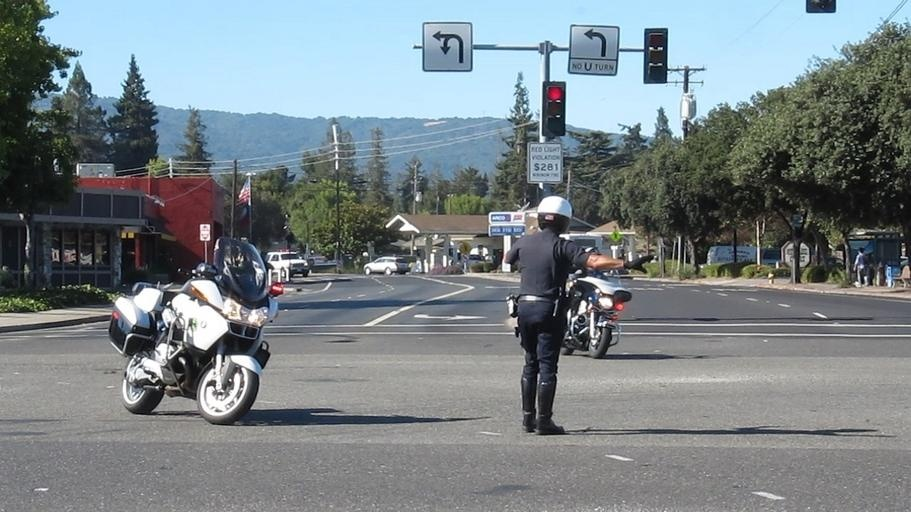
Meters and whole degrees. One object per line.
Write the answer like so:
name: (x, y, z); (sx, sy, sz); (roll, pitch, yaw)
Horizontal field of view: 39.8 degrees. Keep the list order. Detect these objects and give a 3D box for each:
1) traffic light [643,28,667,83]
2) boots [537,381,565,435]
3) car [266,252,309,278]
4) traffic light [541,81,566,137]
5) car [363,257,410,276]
traffic light: (7.003, -7.071, 44.679); (0.745, 1.837, 0.488); (0, 12, 5)
boots: (2.444, 3.979, 32.973); (0.659, 1.356, 0.450); (-10, 15, -34)
car: (-11.458, 0.629, 86.155); (1.970, 1.806, 4.021); (-2, -1, -25)
traffic light: (3.460, -5.206, 45.098); (0.713, 2.006, 1.197); (-8, 14, -29)
car: (-5.974, 0.820, 108.532); (3.601, 1.272, 1.689); (5, 5, 39)
